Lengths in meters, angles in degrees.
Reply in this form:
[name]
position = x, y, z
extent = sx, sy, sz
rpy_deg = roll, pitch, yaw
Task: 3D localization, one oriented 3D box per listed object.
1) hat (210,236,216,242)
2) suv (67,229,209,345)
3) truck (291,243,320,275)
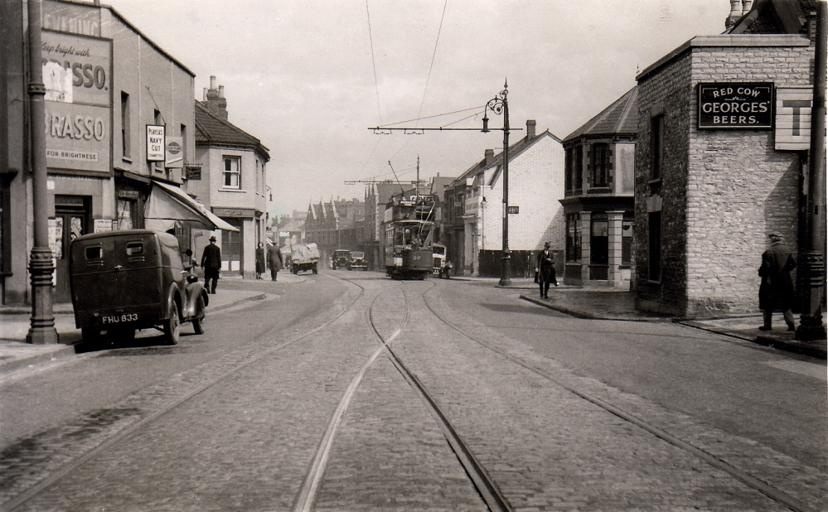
[hat]
position = -7.463, -0.625, 34.099
extent = 0.242, 0.116, 0.292
rpy_deg = 5, 3, -3
[suv]
position = -6.777, 0.781, 22.388
extent = 2.940, 2.905, 1.903
rpy_deg = -3, 9, -22
[truck]
position = -7.590, 0.187, 63.967
extent = 1.603, 1.704, 2.685
rpy_deg = 0, 3, -8
